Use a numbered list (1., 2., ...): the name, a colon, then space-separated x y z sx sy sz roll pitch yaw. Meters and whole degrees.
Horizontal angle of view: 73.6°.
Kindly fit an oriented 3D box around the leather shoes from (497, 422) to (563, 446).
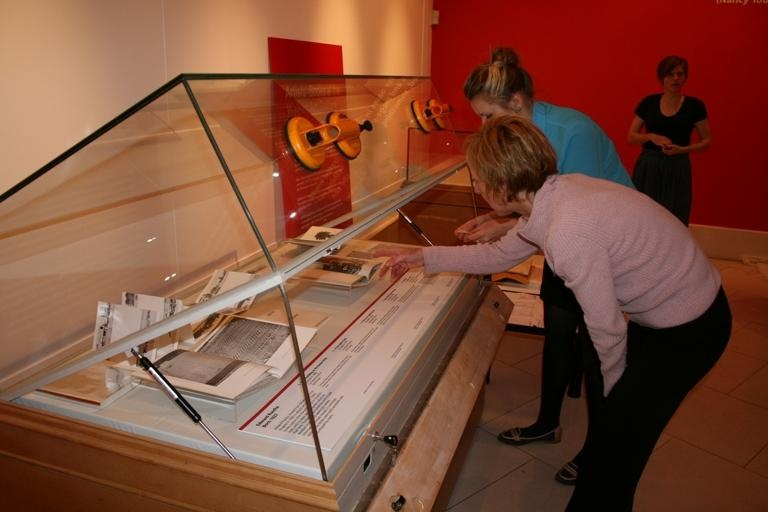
1. leather shoes: 0.731 0.919 2.647 0.340 0.123 0.123 2 12 6

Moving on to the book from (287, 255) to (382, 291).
1. book: -0.180 0.069 2.128 0.173 0.044 0.193 13 27 20

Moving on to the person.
1. person: 0.791 0.267 2.144 0.857 1.730 1.015 -20 33 -32

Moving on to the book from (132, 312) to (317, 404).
1. book: -0.497 0.322 1.660 0.403 0.128 0.274 -24 35 -37
